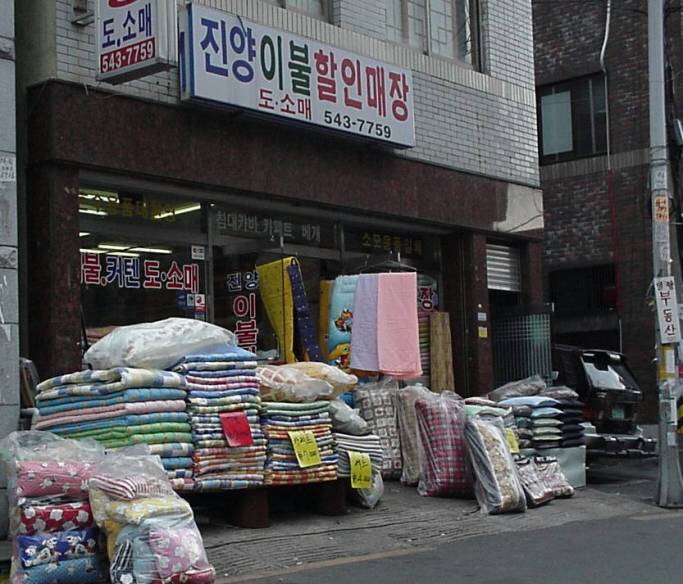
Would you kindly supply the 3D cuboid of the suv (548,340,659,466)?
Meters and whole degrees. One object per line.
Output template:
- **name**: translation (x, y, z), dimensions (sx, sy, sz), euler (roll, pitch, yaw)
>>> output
- **suv**: translation (3.683, 1.515, 13.156), dimensions (0.981, 1.209, 1.906), euler (1, -5, -12)

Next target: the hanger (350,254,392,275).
- **hanger**: translation (0.385, -0.376, 12.052), dimensions (0.288, 0.089, 0.293), euler (12, -25, -37)
